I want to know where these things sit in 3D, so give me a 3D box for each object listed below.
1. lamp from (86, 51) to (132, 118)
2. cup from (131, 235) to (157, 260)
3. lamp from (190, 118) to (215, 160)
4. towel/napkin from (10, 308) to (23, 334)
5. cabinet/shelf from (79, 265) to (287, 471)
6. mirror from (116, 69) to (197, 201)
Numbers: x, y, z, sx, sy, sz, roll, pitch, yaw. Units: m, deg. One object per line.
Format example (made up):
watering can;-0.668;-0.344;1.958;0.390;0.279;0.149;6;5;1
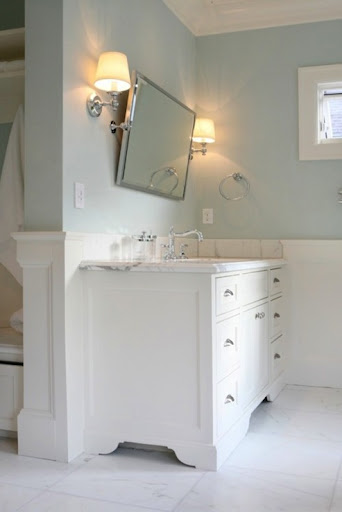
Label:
lamp;-0.239;-0.681;1.707;0.157;0.233;0.143;5;10;23
cup;-0.128;-0.042;2.061;0.114;0.129;0.114;0;1;0
lamp;0.217;-0.791;2.879;0.157;0.272;0.162;3;3;-3
towel/napkin;-0.675;0.289;1.878;0.033;0.094;0.098;-11;-1;-44
cabinet/shelf;0.152;0.398;2.117;0.591;0.752;1.182;-1;-1;25
mirror;-0.048;-0.611;2.339;0.023;0.549;0.731;11;7;27
